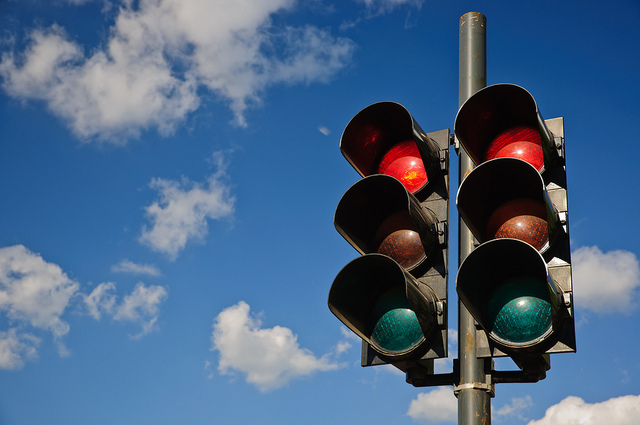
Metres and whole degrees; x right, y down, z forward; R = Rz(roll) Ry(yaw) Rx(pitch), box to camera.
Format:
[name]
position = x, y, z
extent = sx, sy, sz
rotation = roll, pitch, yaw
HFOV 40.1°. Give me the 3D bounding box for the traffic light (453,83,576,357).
[traffic light]
position = 1.832, 0.026, 8.264
extent = 1.136, 2.362, 1.355
rotation = -3, -46, 8
